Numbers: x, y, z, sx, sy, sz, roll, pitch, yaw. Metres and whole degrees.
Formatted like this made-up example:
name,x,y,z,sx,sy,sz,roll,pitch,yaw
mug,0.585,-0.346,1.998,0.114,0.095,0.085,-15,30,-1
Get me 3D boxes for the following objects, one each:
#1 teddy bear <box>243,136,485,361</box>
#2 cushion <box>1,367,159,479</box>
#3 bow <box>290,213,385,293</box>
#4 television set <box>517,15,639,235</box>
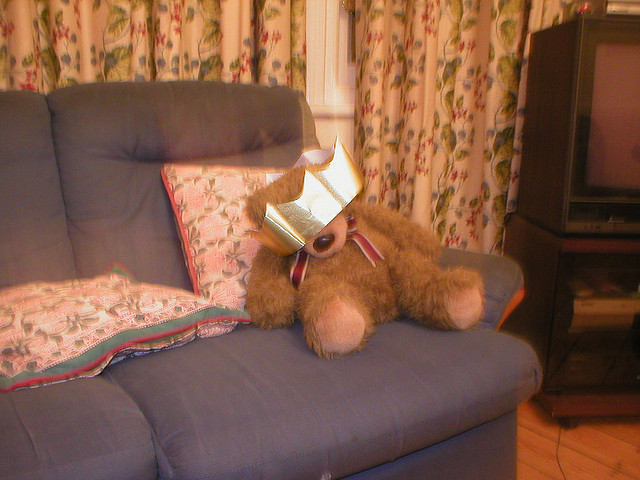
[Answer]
name,x,y,z,sx,sy,sz,roll,pitch,yaw
teddy bear,0.078,0.039,1.390,0.584,0.471,0.501,12,46,31
cushion,-0.511,0.374,1.102,0.224,0.100,0.207,-12,36,-28
bow,0.057,0.027,1.406,0.202,0.201,0.079,-16,1,-7
television set,0.822,-0.408,1.852,0.395,0.631,0.343,0,19,-1
